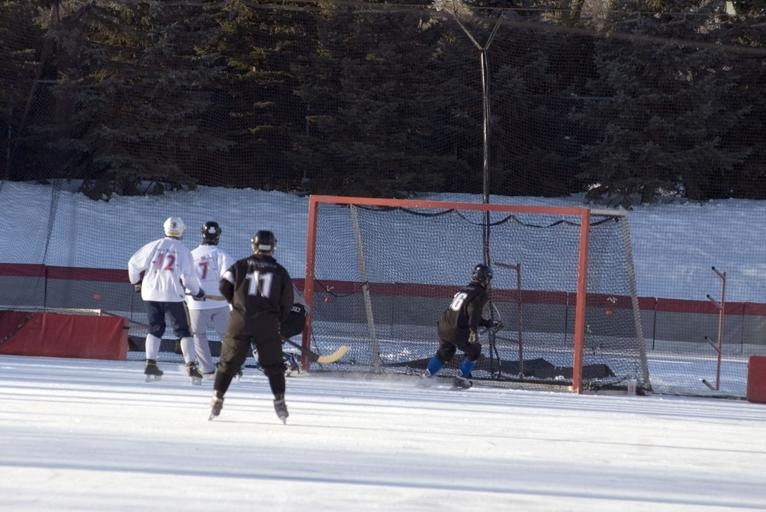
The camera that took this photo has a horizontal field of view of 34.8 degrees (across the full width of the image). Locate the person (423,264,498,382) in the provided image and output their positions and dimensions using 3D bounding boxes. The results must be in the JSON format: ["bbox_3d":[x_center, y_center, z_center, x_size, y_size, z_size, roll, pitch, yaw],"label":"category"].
[{"bbox_3d":[1.840,1.493,26.963,1.432,2.593,1.078,1,-2,13],"label":"person"}]

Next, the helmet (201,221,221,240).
[{"bbox_3d":[-3.730,-0.523,26.466,0.353,0.417,0.391,3,-16,-6],"label":"helmet"}]

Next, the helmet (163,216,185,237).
[{"bbox_3d":[-4.540,-0.595,26.423,0.376,0.433,0.480,2,9,-2],"label":"helmet"}]

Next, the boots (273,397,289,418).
[{"bbox_3d":[-2.006,3.033,23.989,0.301,0.462,0.290,1,-2,-6],"label":"boots"}]

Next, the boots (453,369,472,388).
[{"bbox_3d":[1.757,2.760,27.124,0.473,0.503,0.294,0,4,-6],"label":"boots"}]

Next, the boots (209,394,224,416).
[{"bbox_3d":[-3.297,2.992,24.040,0.227,0.440,0.401,2,-2,-10],"label":"boots"}]

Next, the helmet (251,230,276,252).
[{"bbox_3d":[-2.381,-0.257,24.313,0.412,0.434,0.397,5,-18,-9],"label":"helmet"}]

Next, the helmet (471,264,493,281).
[{"bbox_3d":[2.178,0.398,26.786,0.315,0.392,0.393,12,26,30],"label":"helmet"}]

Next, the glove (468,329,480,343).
[{"bbox_3d":[1.968,1.773,26.406,0.255,0.264,0.195,-4,4,3],"label":"glove"}]
